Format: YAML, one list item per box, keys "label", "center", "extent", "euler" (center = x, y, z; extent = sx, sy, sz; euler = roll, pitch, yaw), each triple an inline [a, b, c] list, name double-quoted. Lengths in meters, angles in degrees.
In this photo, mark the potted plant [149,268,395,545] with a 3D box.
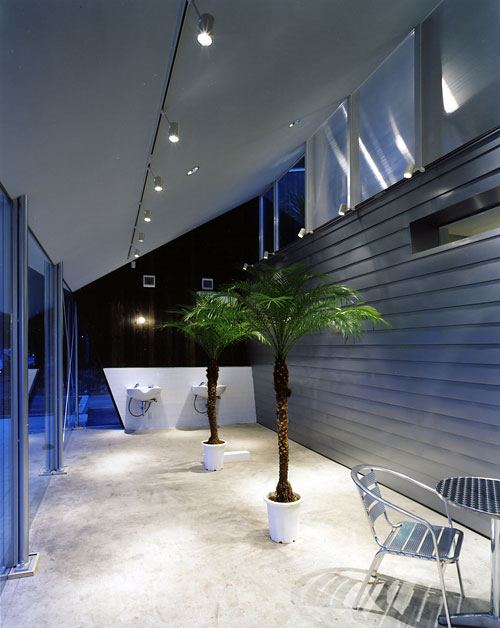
- label: "potted plant"
  center: [0.130, 0.424, 4.407]
  extent: [2.331, 2.957, 2.298]
  euler: [0, 2, -14]
